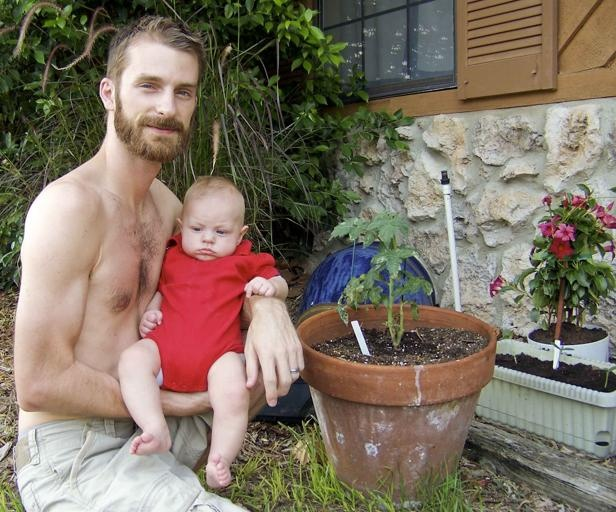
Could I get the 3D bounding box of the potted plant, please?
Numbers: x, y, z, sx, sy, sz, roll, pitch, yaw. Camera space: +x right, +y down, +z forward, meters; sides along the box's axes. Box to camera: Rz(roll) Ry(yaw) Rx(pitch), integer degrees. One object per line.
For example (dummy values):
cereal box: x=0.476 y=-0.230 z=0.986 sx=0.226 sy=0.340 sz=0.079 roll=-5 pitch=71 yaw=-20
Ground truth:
potted plant: x=0.277 y=0.201 z=2.266 sx=0.796 sy=1.150 sz=0.830 roll=-7 pitch=14 yaw=-27

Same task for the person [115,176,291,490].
person: x=-0.353 y=0.221 z=1.974 sx=0.470 sy=1.034 sz=0.656 roll=7 pitch=-10 yaw=-21
